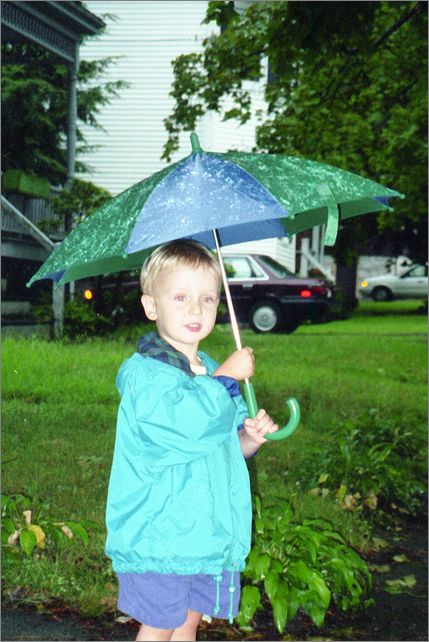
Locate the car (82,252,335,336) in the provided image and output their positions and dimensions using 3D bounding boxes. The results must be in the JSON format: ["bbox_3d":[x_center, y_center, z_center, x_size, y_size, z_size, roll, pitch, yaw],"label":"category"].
[{"bbox_3d":[0.004,-0.382,8.576,3.039,0.920,1.282,2,2,10],"label":"car"}]
